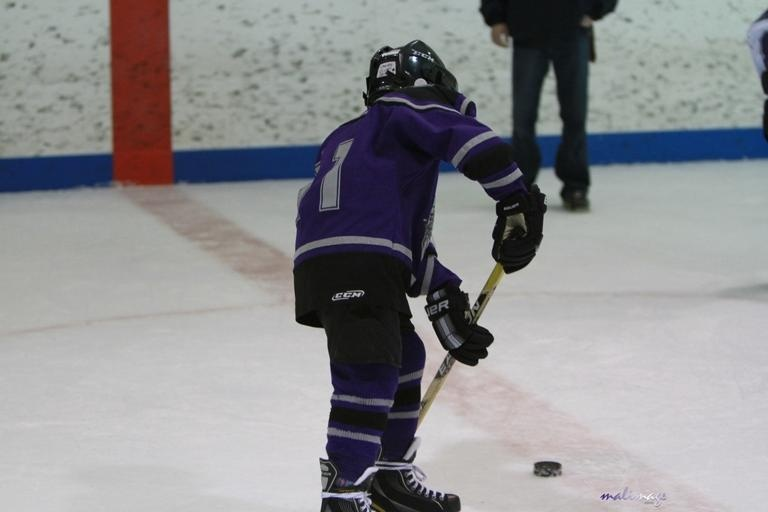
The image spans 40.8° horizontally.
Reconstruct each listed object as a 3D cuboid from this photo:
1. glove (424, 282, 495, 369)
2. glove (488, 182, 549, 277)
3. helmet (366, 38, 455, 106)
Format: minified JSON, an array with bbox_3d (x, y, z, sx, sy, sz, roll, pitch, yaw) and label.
[{"bbox_3d":[0.230,0.205,3.165,0.199,0.244,0.110,-35,1,-41],"label":"glove"},{"bbox_3d":[0.406,-0.081,3.104,0.196,0.229,0.112,-13,18,-9],"label":"glove"},{"bbox_3d":[0.086,-0.575,3.159,0.267,0.194,0.186,-9,10,-30],"label":"helmet"}]
